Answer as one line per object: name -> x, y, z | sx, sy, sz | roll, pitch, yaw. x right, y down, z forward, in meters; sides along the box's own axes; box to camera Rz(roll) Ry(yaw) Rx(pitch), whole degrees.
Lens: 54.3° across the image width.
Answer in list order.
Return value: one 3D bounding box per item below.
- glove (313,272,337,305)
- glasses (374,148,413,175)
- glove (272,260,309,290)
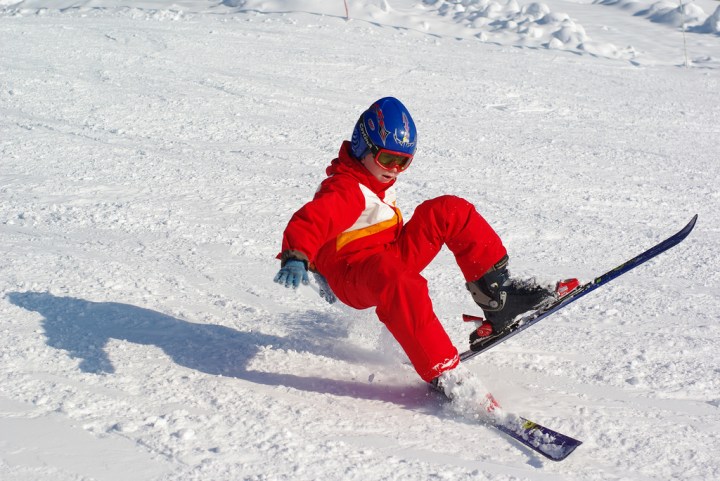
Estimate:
glove -> -0.248, 0.326, 4.803 | 0.280, 0.143, 0.080 | 33, 65, 16
glasses -> 0.199, -0.539, 4.745 | 0.208, 0.099, 0.213 | 6, 23, -32
glove -> -0.421, 0.213, 4.396 | 0.200, 0.118, 0.191 | 7, 36, 2
